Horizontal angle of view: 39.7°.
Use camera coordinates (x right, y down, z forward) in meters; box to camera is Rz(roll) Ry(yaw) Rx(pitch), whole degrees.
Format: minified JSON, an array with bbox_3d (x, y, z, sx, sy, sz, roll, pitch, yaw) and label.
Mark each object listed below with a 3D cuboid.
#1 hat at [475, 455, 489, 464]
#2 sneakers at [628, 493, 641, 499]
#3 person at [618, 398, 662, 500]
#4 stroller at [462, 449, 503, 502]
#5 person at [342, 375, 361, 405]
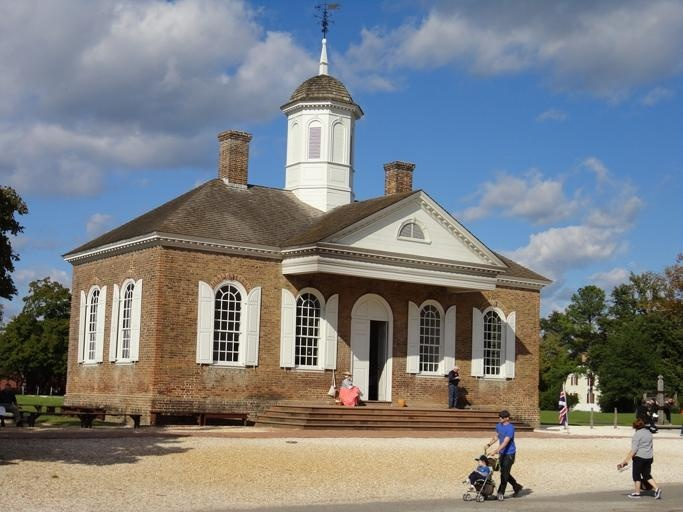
[{"bbox_3d":[3.506,5.140,23.716,0.329,0.152,0.200,22,11,29],"label":"hat"},{"bbox_3d":[7.418,6.115,24.031,0.317,0.125,0.132,1,-5,28],"label":"sneakers"},{"bbox_3d":[7.722,5.253,24.465,0.833,2.023,1.291,-10,-16,36],"label":"person"},{"bbox_3d":[3.453,5.526,23.596,0.637,1.216,1.273,-12,-17,40],"label":"stroller"},{"bbox_3d":[0.332,5.314,37.663,1.019,1.224,1.033,-1,1,-15],"label":"person"}]
